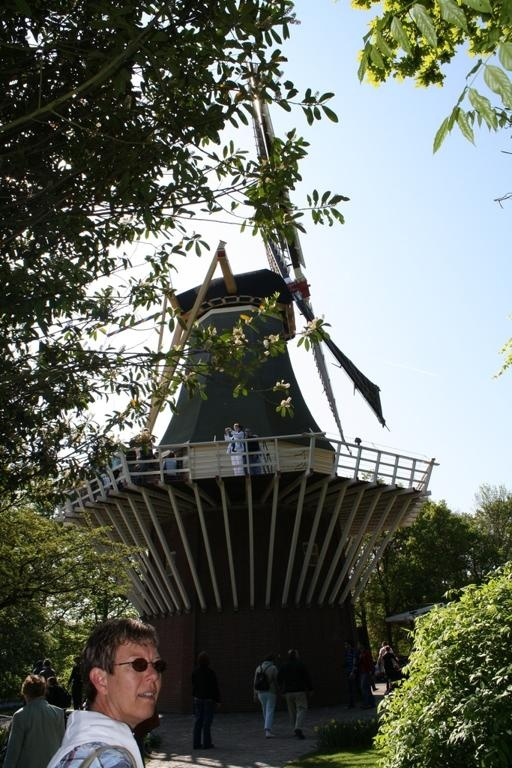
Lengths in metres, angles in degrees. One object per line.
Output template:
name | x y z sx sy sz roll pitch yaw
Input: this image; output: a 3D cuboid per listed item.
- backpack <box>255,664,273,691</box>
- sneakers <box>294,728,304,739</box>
backpack | 0.111 4.857 12.365 0.345 0.472 0.265 -2 -50 2
sneakers | 0.703 5.563 11.880 0.094 0.180 0.196 2 8 18
